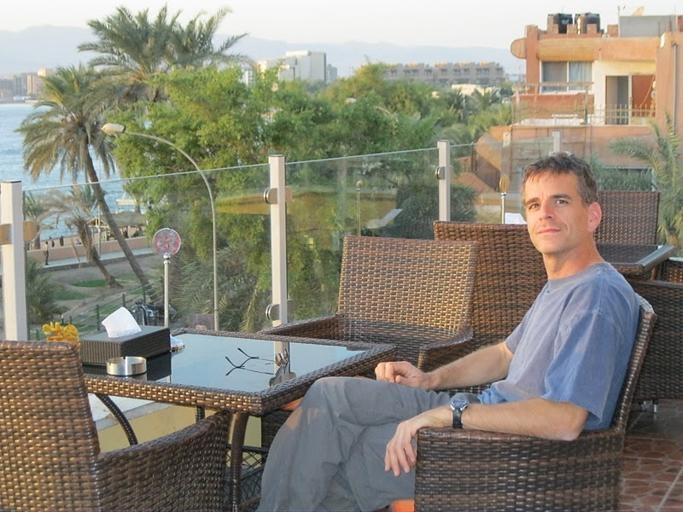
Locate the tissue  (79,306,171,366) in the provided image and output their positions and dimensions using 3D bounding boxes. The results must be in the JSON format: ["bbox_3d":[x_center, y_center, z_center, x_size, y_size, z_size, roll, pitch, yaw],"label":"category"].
[{"bbox_3d":[-1.061,0.283,5.727,0.245,0.342,0.482,1,1,22],"label":"tissue "}]

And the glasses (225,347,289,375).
[{"bbox_3d":[-0.406,0.521,5.546,0.151,0.055,0.152,3,10,-1],"label":"glasses"}]
